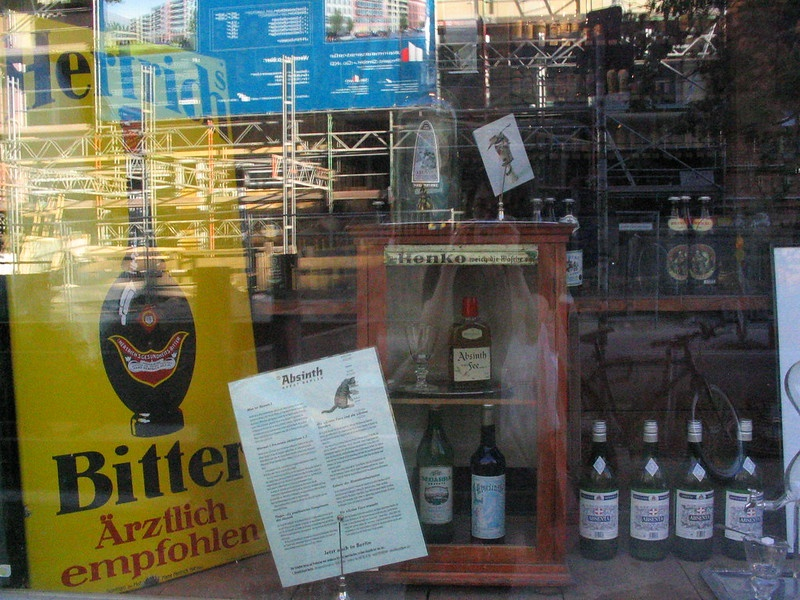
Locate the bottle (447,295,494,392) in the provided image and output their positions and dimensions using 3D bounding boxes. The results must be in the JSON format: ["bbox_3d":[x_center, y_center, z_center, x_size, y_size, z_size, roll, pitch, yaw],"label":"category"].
[{"bbox_3d":[0.199,0.113,2.464,0.120,0.260,0.069,-3,20,1],"label":"bottle"}]

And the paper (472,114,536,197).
[{"bbox_3d":[0.291,-0.421,2.518,0.155,0.234,0.016,-25,0,1],"label":"paper"}]

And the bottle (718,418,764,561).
[{"bbox_3d":[0.945,0.523,2.436,0.103,0.404,0.105,-4,14,1],"label":"bottle"}]

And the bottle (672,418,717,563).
[{"bbox_3d":[0.800,0.525,2.416,0.102,0.338,0.172,-1,8,19],"label":"bottle"}]

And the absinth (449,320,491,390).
[{"bbox_3d":[0.195,0.148,2.470,0.118,0.188,0.068,-1,2,-7],"label":"absinth"}]
